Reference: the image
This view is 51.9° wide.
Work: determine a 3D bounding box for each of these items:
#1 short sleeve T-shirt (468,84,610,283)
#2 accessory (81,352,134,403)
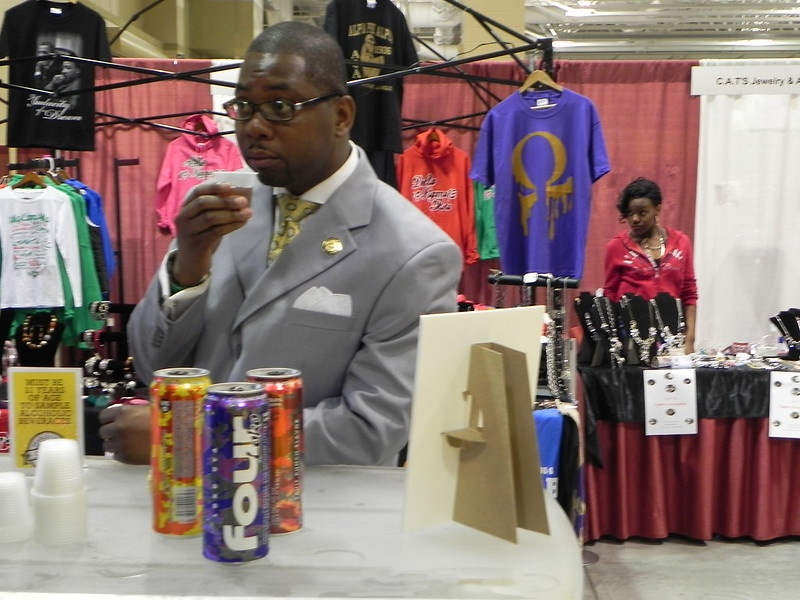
[{"bbox_3d":[0.830,-0.674,4.820,0.752,1.095,0.242,3,4,28],"label":"short sleeve T-shirt"},{"bbox_3d":[-1.380,0.363,3.771,0.315,0.182,0.096,0,-3,19],"label":"accessory"}]
